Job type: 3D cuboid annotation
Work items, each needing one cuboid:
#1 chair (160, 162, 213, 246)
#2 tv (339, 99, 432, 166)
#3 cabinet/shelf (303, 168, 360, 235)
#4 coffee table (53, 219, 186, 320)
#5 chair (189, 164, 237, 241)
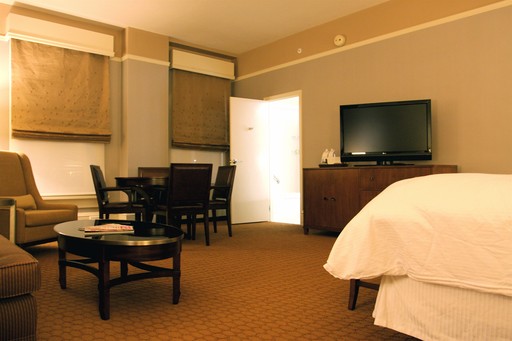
[{"bbox_3d":[-0.971,0.443,5.042,0.840,1.050,0.814,-1,3,-12],"label":"chair"},{"bbox_3d":[1.819,-0.533,5.293,1.006,0.687,0.269,0,3,27],"label":"tv"},{"bbox_3d":[1.011,0.428,5.646,0.988,0.925,0.347,4,-7,-25],"label":"cabinet/shelf"},{"bbox_3d":[-1.160,0.787,3.288,1.121,0.619,0.677,4,7,30],"label":"coffee table"},{"bbox_3d":[-0.684,0.436,5.723,0.670,0.944,0.687,0,1,45],"label":"chair"}]
